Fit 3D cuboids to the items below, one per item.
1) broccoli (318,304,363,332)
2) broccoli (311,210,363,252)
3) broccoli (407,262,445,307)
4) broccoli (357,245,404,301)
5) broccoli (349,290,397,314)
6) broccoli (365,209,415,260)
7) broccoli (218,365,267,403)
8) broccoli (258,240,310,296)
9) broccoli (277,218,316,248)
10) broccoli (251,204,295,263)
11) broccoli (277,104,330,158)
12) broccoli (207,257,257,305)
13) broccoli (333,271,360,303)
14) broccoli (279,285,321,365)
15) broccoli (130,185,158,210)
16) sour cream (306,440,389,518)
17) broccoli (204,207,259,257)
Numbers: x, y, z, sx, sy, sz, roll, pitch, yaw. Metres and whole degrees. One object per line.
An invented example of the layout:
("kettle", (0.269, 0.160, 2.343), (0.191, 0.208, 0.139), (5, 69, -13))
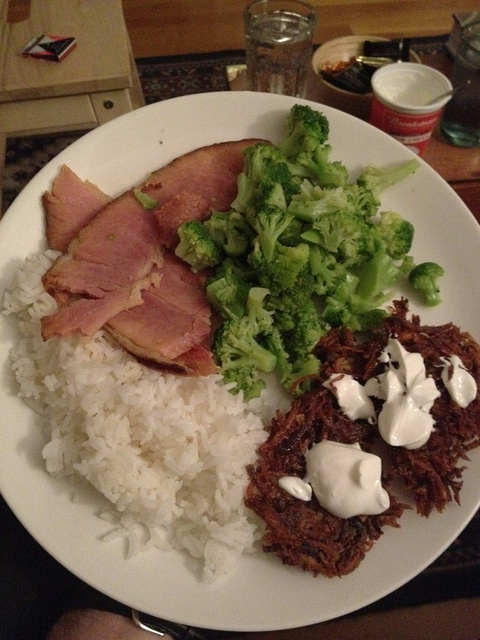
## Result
("broccoli", (0.336, -0.009, 2.041), (0.130, 0.043, 0.084), (5, 91, -3))
("broccoli", (0.301, -0.296, 1.972), (0.151, 0.112, 0.142), (10, 20, 36))
("broccoli", (0.628, -0.124, 2.044), (0.112, 0.098, 0.145), (9, 60, 5))
("broccoli", (0.463, -0.144, 2.018), (0.111, 0.153, 0.177), (29, 64, 15))
("broccoli", (0.436, -0.067, 2.013), (0.112, 0.021, 0.068), (-34, 71, -15))
("broccoli", (0.512, -0.292, 2.028), (0.165, 0.058, 0.150), (9, 70, -5))
("broccoli", (0.015, 0.199, 2.057), (0.134, 0.110, 0.154), (-23, 34, -36))
("broccoli", (0.133, -0.161, 1.935), (0.154, 0.154, 0.100), (-14, 34, -21))
("broccoli", (0.185, -0.280, 1.971), (0.117, 0.031, 0.092), (14, 80, 7))
("broccoli", (0.085, -0.275, 1.915), (0.194, 0.120, 0.181), (-6, 80, 0))
("broccoli", (0.212, -0.639, 2.024), (0.206, 0.169, 0.185), (-2, 34, -2))
("broccoli", (-0.025, -0.125, 1.969), (0.146, 0.098, 0.148), (18, 32, 32))
("broccoli", (0.357, -0.112, 1.996), (0.100, 0.026, 0.089), (26, 82, -12))
("broccoli", (0.193, 0.014, 1.913), (0.111, 0.224, 0.173), (-1, 14, 41))
("broccoli", (-0.328, -0.423, 2.105), (0.089, 0.024, 0.067), (47, 54, -20))
("sour cream", (0.300, 0.468, 1.744), (0.323, 0.133, 0.226), (-1, 28, -7))
("broccoli", (-0.026, -0.291, 2.040), (0.217, 0.144, 0.129), (-25, 41, -34))
